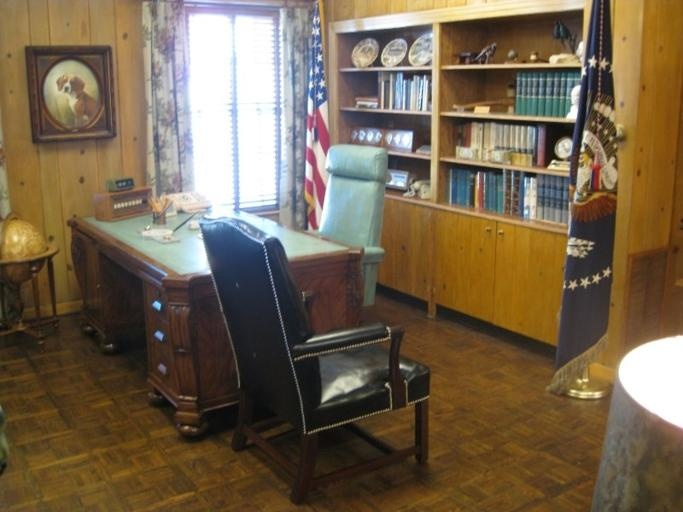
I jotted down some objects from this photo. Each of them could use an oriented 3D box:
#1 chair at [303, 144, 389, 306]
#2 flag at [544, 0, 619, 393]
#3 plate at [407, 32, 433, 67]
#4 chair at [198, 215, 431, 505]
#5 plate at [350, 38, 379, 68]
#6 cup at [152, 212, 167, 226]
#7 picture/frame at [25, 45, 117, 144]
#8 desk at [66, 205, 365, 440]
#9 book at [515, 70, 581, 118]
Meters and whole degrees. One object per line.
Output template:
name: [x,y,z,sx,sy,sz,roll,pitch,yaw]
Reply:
chair: [-0.074,-0.209,4.201,0.696,1.189,0.660,13,17,33]
flag: [1.500,-0.290,3.397,0.297,2.340,0.388,7,18,27]
plate: [0.692,-1.776,4.886,0.065,0.326,0.289,8,-4,-30]
chair: [-0.132,0.432,2.878,0.904,1.316,0.840,-8,13,-25]
plate: [0.212,-1.937,5.407,0.286,0.331,0.106,5,0,41]
cup: [-1.327,-0.279,4.120,0.083,0.100,0.085,1,17,0]
picture/frame: [-2.223,-1.328,4.586,0.683,0.849,0.097,-9,15,-39]
desk: [-1.114,0.282,4.049,1.839,0.940,1.183,16,20,41]
book: [1.435,-1.105,4.077,0.366,0.332,0.534,3,4,40]
